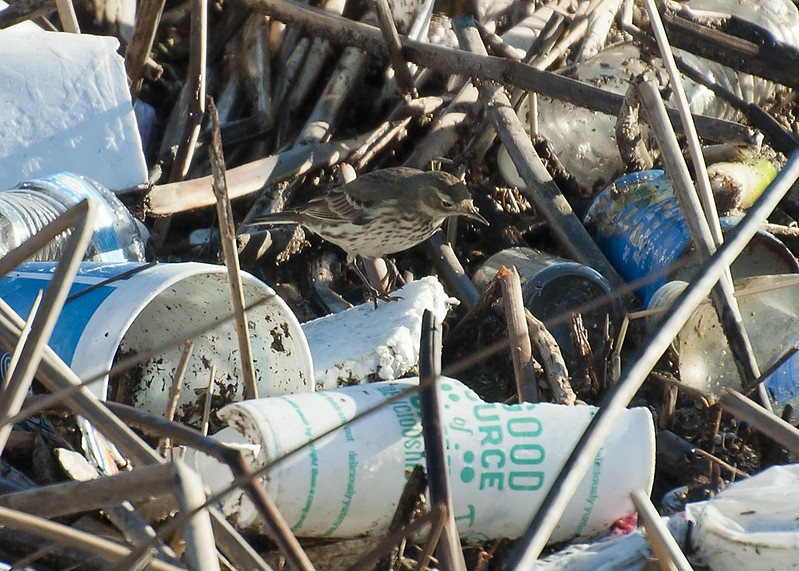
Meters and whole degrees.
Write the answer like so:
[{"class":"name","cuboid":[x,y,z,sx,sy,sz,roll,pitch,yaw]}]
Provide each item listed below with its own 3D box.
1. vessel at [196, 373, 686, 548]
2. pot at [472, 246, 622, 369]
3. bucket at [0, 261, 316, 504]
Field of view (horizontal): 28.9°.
[{"class":"vessel","cuboid":[0.136,0.814,7.096,2.041,0.748,0.472,-5,26,-4]},{"class":"pot","cuboid":[0.870,0.019,8.655,0.615,0.408,0.971,-15,30,-22]},{"class":"bucket","cuboid":[-1.191,0.546,7.622,1.163,1.178,1.110,-2,19,1]}]
